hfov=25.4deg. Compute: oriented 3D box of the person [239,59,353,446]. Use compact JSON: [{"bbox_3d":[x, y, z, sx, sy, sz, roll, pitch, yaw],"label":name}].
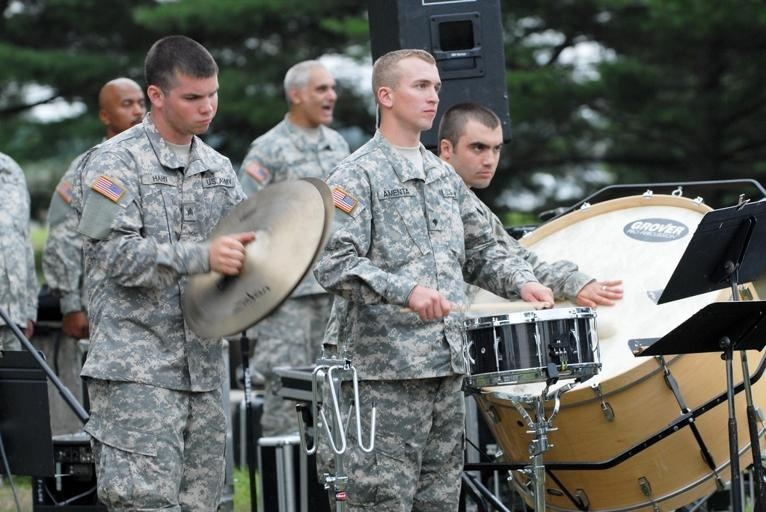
[{"bbox_3d":[-0.625,0.077,14.824,1.240,3.363,1.458,9,12,25],"label":"person"}]
